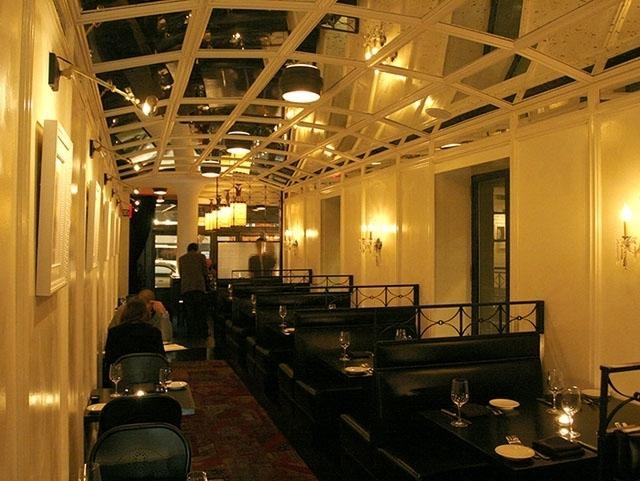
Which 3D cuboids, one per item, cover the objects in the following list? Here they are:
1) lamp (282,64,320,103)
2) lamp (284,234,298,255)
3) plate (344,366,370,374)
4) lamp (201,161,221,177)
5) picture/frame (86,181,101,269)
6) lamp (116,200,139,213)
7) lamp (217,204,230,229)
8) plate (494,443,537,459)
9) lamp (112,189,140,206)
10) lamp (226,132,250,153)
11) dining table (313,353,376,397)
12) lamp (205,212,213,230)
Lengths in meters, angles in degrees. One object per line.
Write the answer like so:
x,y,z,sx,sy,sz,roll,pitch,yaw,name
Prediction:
-0.245,-1.756,6.228,0.425,0.252,0.425,-4,-6,34,lamp
-0.788,0.102,15.181,0.356,0.630,0.556,5,-8,-35,lamp
0.397,1.371,5.747,0.275,0.041,0.286,1,-4,1,plate
-2.476,-1.641,12.206,0.453,0.377,0.430,0,-6,0,lamp
-2.670,-0.180,6.403,0.142,1.075,1.162,3,-4,-23,picture/frame
-5.087,-0.909,14.295,0.720,0.247,0.701,5,5,44,lamp
-2.480,-0.634,14.226,0.267,0.547,0.833,3,-4,-24,lamp
1.390,1.514,3.878,0.249,0.055,0.184,3,-4,-29,plate
-4.939,-1.092,13.788,0.410,0.273,0.989,2,2,-12,lamp
-1.420,-1.715,9.519,0.365,0.297,0.344,2,-9,-14,lamp
0.296,1.518,6.229,0.597,0.418,1.333,1,-4,0,dining table
-2.979,-0.567,14.952,0.307,0.495,0.837,2,-4,-9,lamp
